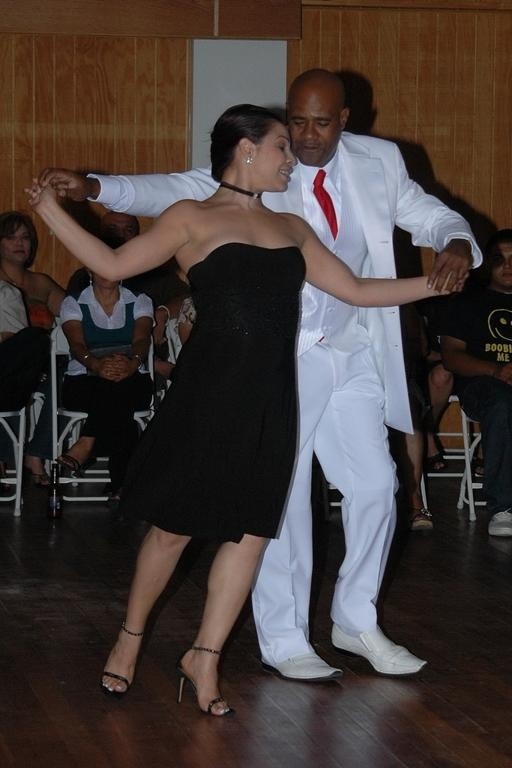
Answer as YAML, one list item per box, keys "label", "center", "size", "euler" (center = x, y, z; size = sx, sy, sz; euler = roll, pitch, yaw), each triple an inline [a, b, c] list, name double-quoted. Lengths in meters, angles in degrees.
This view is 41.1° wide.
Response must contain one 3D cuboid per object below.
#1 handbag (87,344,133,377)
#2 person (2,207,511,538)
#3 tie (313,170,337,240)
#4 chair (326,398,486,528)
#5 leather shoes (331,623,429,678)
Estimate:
- label: "handbag"
  center: [-0.857, -0.121, 4.077]
  size: [0.222, 0.199, 0.076]
  euler: [2, 24, -2]
- label: "person"
  center: [-0.032, -0.065, 1.472]
  size: [0.824, 0.743, 0.304]
  euler: [-2, 11, -32]
- label: "tie"
  center: [0.181, -0.474, 1.788]
  size: [0.040, 0.226, 0.040]
  euler: [-7, 3, 2]
- label: "chair"
  center: [0.964, 0.519, 4.722]
  size: [0.915, 1.491, 0.944]
  euler: [0, -3, 1]
- label: "leather shoes"
  center: [0.330, 0.699, 1.886]
  size: [0.286, 0.101, 0.101]
  euler: [14, 23, 34]
